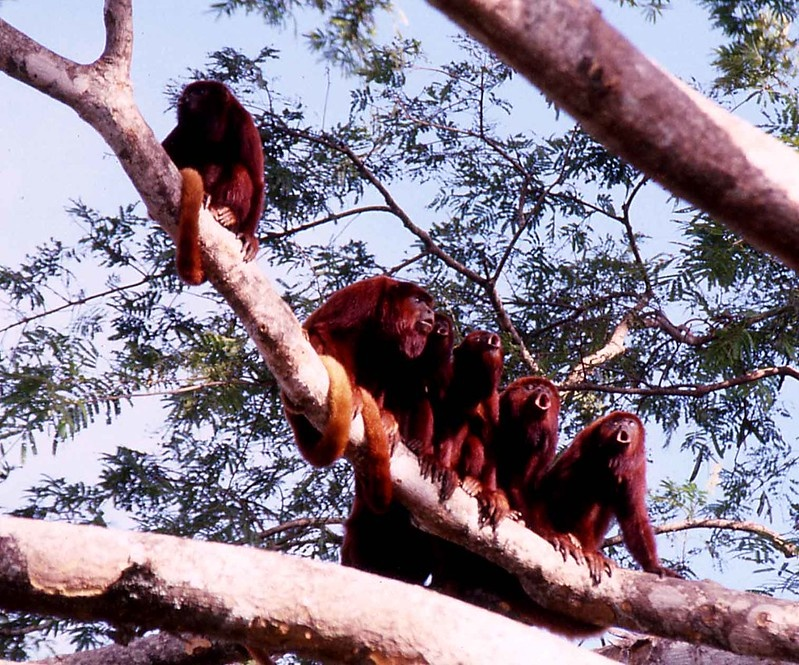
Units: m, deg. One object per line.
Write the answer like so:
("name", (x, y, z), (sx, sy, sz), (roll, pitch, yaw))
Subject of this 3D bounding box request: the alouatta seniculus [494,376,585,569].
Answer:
("alouatta seniculus", (0.828, 0.742, 8.162), (0.401, 0.956, 0.484), (-10, -24, 33))

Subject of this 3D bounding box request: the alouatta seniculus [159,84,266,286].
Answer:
("alouatta seniculus", (-1.000, -0.790, 7.161), (0.387, 1.534, 0.509), (-3, 9, -4))

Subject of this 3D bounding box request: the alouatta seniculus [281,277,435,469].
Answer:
("alouatta seniculus", (-0.310, 0.089, 7.966), (1.207, 0.785, 0.723), (-13, -24, 29))
